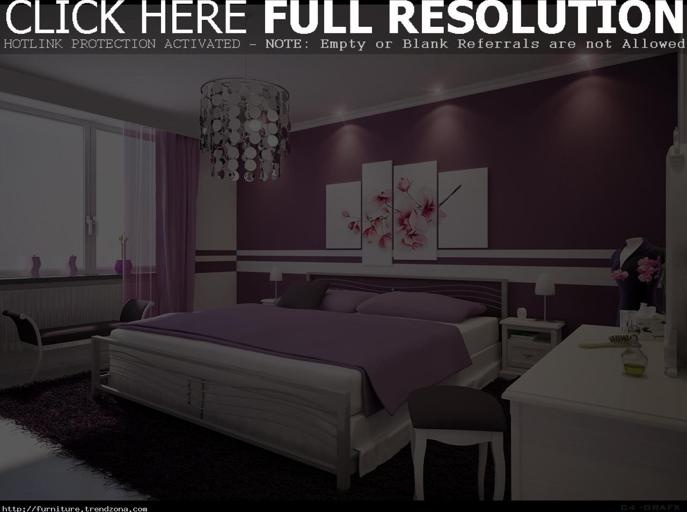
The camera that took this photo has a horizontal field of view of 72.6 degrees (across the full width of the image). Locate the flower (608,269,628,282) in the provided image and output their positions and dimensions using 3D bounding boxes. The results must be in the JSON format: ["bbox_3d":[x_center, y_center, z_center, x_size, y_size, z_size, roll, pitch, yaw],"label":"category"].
[{"bbox_3d":[1.895,0.141,3.179,0.080,0.033,0.078,-30,28,-16],"label":"flower"}]

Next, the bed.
[{"bbox_3d":[-0.447,0.997,4.480,2.956,0.866,2.942,2,-1,43],"label":"bed"}]

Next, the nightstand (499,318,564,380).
[{"bbox_3d":[1.808,0.914,4.523,0.545,0.566,0.358,-1,-5,34],"label":"nightstand"}]

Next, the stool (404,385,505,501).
[{"bbox_3d":[0.592,1.006,2.514,0.486,0.471,0.429,1,9,8],"label":"stool"}]

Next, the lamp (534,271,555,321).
[{"bbox_3d":[1.927,0.400,4.464,0.179,0.465,0.259,3,9,23],"label":"lamp"}]

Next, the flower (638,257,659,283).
[{"bbox_3d":[1.963,0.099,2.963,0.043,0.169,0.162,18,7,3],"label":"flower"}]

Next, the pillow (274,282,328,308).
[{"bbox_3d":[-0.467,0.456,5.292,0.345,0.121,0.394,-7,32,21],"label":"pillow"}]

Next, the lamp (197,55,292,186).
[{"bbox_3d":[-1.008,-1.163,4.448,0.735,0.832,0.776,-4,3,-17],"label":"lamp"}]
